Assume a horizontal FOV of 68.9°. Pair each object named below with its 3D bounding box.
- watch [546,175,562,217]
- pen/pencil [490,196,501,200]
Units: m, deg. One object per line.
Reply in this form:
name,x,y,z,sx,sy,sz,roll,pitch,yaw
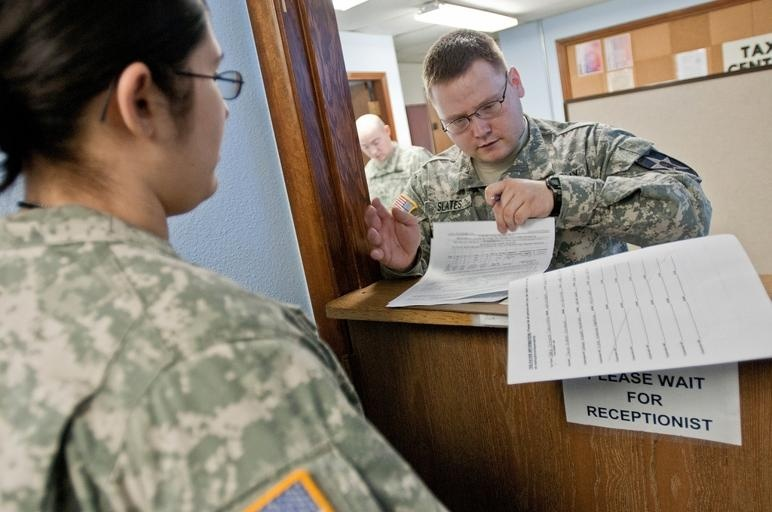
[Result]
watch,0.451,-0.158,1.515,0.040,0.102,0.048,-6,16,5
pen/pencil,0.298,-0.155,1.516,0.019,0.005,0.019,-2,19,4
